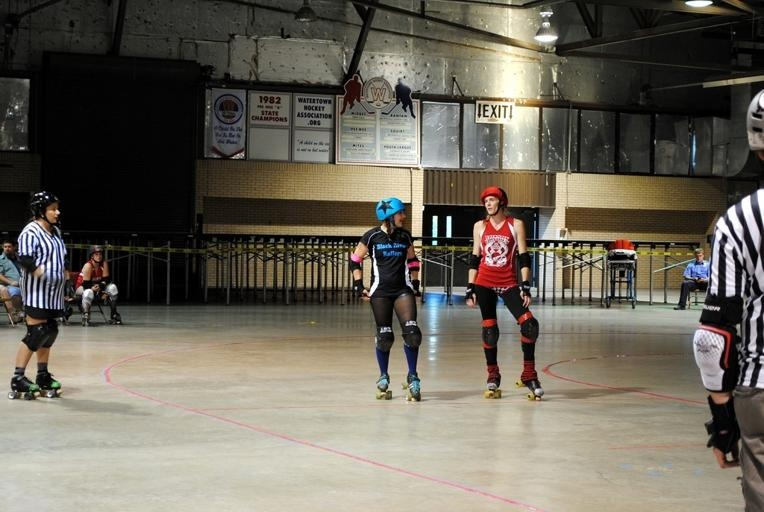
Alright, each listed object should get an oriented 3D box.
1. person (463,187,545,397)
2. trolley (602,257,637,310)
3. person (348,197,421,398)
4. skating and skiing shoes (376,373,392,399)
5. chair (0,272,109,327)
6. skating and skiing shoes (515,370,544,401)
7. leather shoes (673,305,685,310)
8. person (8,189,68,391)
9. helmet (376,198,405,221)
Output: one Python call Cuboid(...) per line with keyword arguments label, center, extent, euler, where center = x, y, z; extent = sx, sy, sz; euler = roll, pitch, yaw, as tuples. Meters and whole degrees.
Cuboid(label="person", center=(1.731, 0.489, 11.673), extent=(1.086, 2.285, 0.647), euler=(2, 1, 10))
Cuboid(label="trolley", center=(8.076, 0.653, 28.105), extent=(1.207, 2.034, 3.972), euler=(3, -2, 19))
Cuboid(label="person", center=(0.060, 0.557, 11.542), extent=(0.936, 1.952, 0.632), euler=(2, 1, -2))
Cuboid(label="skating and skiing shoes", center=(0.029, 1.776, 11.443), extent=(0.222, 0.230, 0.242), euler=(2, 1, 2))
Cuboid(label="chair", center=(-5.996, 0.757, 15.235), extent=(1.285, 0.674, 0.418), euler=(1, -8, -24))
Cuboid(label="skating and skiing shoes", center=(2.003, 1.755, 11.577), extent=(0.229, 0.253, 0.490), euler=(0, 15, -21))
Cuboid(label="leather shoes", center=(8.988, 1.527, 25.177), extent=(0.306, 0.117, 0.112), euler=(3, -2, 3))
Cuboid(label="person", center=(-4.646, 0.517, 11.289), extent=(0.666, 2.785, 0.533), euler=(1, 1, -22))
Cuboid(label="helmet", center=(0.083, -0.662, 11.583), extent=(0.381, 0.296, 0.295), euler=(6, 1, 17))
